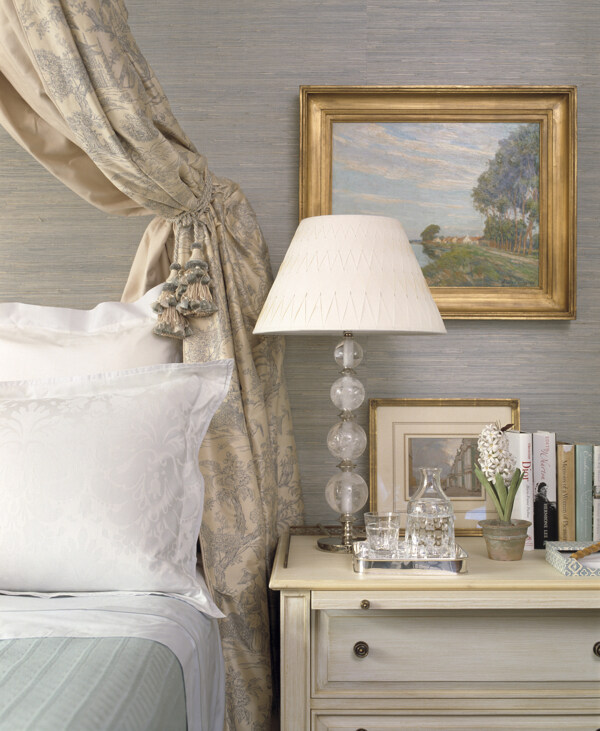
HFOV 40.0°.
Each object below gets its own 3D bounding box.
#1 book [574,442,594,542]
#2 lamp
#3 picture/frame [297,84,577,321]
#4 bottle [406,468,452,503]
[{"bbox_3d":[0.640,0.290,1.872,0.045,0.162,0.172,2,1,10],"label":"book"},{"bbox_3d":[0.097,0.047,1.760,0.394,0.685,0.329,0,0,-1],"label":"lamp"},{"bbox_3d":[0.332,-0.410,2.002,0.766,0.507,0.063,0,1,1],"label":"picture/frame"},{"bbox_3d":[0.267,0.252,1.779,0.114,0.094,0.109,-1,1,9],"label":"bottle"}]
